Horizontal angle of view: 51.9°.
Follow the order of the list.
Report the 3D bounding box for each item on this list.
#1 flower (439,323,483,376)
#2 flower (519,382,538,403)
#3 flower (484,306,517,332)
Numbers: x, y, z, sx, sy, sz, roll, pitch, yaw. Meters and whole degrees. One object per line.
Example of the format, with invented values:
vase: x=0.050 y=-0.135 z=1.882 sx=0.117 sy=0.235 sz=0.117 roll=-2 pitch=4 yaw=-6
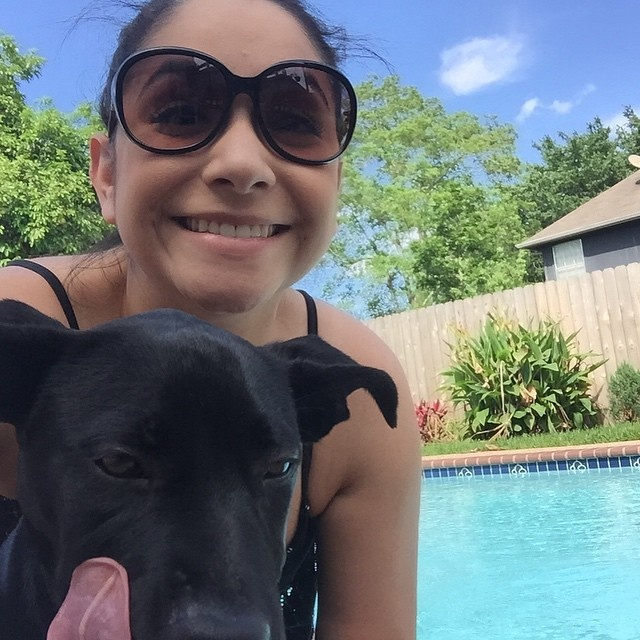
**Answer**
flower: x=2.230 y=0.476 z=10.050 sx=0.933 sy=0.740 sz=0.801 roll=-1 pitch=-7 yaw=-3
flower: x=2.887 y=1.039 z=9.080 sx=0.233 sy=0.325 sz=0.173 roll=-15 pitch=-3 yaw=19
flower: x=2.764 y=0.023 z=9.999 sx=0.518 sy=0.285 sz=0.533 roll=2 pitch=5 yaw=-29
